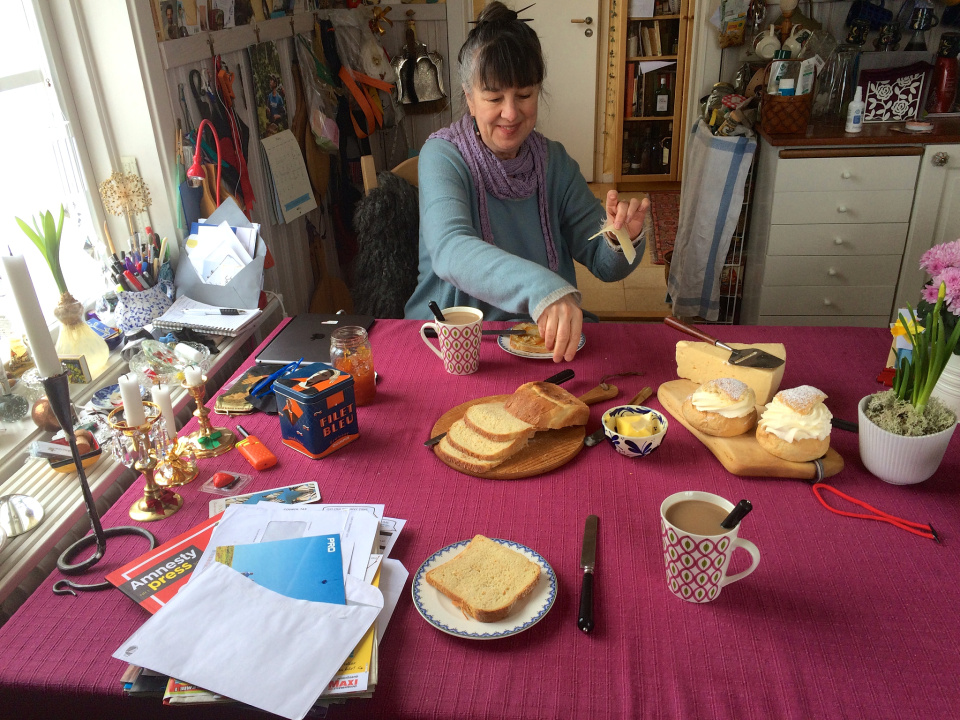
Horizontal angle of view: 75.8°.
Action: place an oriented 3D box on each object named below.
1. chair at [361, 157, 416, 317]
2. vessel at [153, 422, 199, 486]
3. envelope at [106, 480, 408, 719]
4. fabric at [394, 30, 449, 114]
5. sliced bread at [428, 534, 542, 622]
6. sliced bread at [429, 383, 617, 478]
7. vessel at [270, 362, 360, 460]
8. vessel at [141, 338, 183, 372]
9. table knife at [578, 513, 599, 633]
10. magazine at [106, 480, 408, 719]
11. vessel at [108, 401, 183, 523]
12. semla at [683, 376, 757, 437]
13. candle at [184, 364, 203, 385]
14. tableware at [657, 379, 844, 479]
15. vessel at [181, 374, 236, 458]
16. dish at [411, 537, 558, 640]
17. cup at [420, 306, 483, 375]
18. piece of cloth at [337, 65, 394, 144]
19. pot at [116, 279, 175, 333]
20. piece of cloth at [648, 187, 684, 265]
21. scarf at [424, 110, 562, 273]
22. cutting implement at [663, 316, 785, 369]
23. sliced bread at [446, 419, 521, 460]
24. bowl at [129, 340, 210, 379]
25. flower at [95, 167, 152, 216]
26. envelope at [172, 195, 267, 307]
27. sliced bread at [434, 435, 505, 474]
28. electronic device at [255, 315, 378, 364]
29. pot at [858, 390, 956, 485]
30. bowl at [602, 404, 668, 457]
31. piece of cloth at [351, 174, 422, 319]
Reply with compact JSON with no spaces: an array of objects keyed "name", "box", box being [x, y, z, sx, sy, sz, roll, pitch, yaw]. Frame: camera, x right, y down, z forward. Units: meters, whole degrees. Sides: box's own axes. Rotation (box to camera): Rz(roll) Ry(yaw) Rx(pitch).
[{"name":"chair","box":[-0.357,-0.437,2.331,0.122,0.541,0.270,-3,6,-40]},{"name":"vessel","box":[-0.598,0.206,1.268,0.090,0.104,0.101,8,37,-7]},{"name":"envelope","box":[-0.311,0.359,1.000,0.363,0.057,0.378,4,30,16]},{"name":"fabric","box":[-0.359,-1.675,3.507,0.275,0.106,0.654,-9,68,-7]},{"name":"sliced bread","box":[0.008,0.321,0.988,0.195,0.258,0.032,1,44,-4]},{"name":"sliced bread","box":[0.071,0.143,1.282,0.271,0.063,0.185,-23,29,-33]},{"name":"vessel","box":[-0.334,0.117,1.366,0.175,0.198,0.165,27,44,32]},{"name":"vessel","box":[-0.865,0.008,1.669,0.100,0.029,0.077,41,34,-14]},{"name":"table knife","box":[0.176,0.338,1.013,0.026,0.022,0.235,3,32,12]},{"name":"magazine","box":[-0.311,0.359,1.000,0.363,0.057,0.378,4,30,16]},{"name":"vessel","box":[-0.637,0.198,1.177,0.087,0.186,0.095,11,24,43]},{"name":"semla","box":[0.506,0.096,1.302,0.144,0.098,0.149,-16,22,-20]},{"name":"candle","box":[-0.621,0.032,1.330,0.029,0.038,0.032,-7,45,-18]},{"name":"tableware","box":[0.504,0.149,1.258,0.149,0.033,0.284,-15,38,-23]},{"name":"vessel","box":[-0.588,0.108,1.307,0.092,0.165,0.095,-16,29,-32]},{"name":"dish","box":[0.007,0.361,0.983,0.231,0.038,0.181,0,29,8]},{"name":"cup","box":[-0.074,-0.044,1.552,0.161,0.144,0.118,2,20,12]},{"name":"piece of cloth","box":[-0.563,-1.281,3.060,0.262,0.304,0.132,-18,7,-26]},{"name":"pot","box":[-1.034,-0.152,1.933,0.136,0.154,0.149,2,38,-2]},{"name":"piece of cloth","box":[1.515,-1.130,4.975,0.265,0.031,0.980,1,42,10]},{"name":"scarf","box":[0.075,-0.612,2.027,0.317,0.618,0.119,-4,-5,-19]},{"name":"cutting implement","box":[0.549,-0.014,1.425,0.264,0.025,0.089,28,42,37]},{"name":"sliced bread","box":[-0.003,0.170,1.249,0.102,0.017,0.075,31,39,33]},{"name":"bowl","box":[-0.829,-0.002,1.668,0.186,0.072,0.202,12,34,-9]},{"name":"flower","box":[-1.088,-0.509,1.882,0.134,0.158,0.042,-17,3,-17]},{"name":"envelope","box":[-0.788,-0.285,1.885,0.248,0.366,0.119,2,1,20]},{"name":"sliced bread","box":[-0.026,0.189,1.236,0.097,0.016,0.075,27,47,38]},{"name":"electronic device","box":[-0.471,-0.063,1.651,0.162,0.044,0.181,1,34,3]},{"name":"pot","box":[0.798,0.126,1.194,0.122,0.126,0.157,1,40,7]},{"name":"bowl","box":[0.317,0.135,1.246,0.100,0.060,0.103,-3,27,1]},{"name":"piece of cloth","box":[-0.392,-0.406,2.422,0.134,0.594,0.322,-6,28,-22]}]
